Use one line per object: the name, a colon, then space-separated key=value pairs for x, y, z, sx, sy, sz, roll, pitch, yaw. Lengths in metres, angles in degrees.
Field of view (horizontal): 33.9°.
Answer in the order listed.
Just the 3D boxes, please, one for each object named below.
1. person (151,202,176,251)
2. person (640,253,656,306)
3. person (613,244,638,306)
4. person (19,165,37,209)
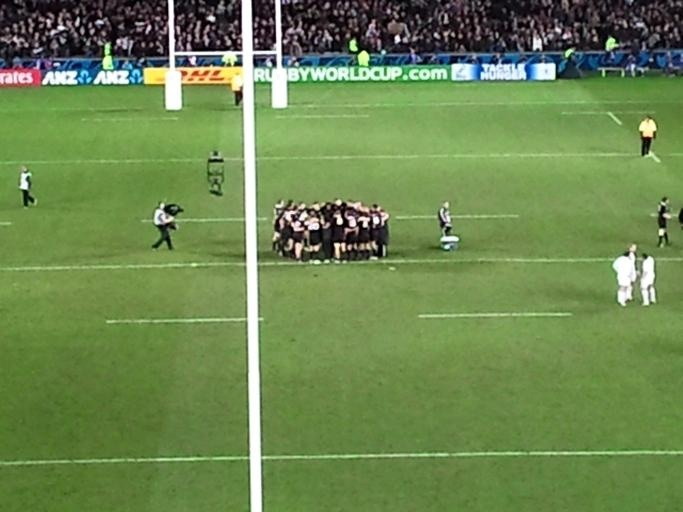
person: x=-5.498 y=-0.882 z=34.625 sx=0.883 sy=1.703 sz=0.720 roll=-5 pitch=31 yaw=-5
person: x=8.117 y=0.545 z=29.463 sx=0.413 sy=1.366 sz=0.945 roll=3 pitch=16 yaw=16
person: x=7.522 y=0.466 z=29.567 sx=0.544 sy=1.547 sz=1.182 roll=3 pitch=16 yaw=16
person: x=-11.263 y=-2.695 z=39.970 sx=0.551 sy=1.457 sz=2.804 roll=-6 pitch=16 yaw=-15
